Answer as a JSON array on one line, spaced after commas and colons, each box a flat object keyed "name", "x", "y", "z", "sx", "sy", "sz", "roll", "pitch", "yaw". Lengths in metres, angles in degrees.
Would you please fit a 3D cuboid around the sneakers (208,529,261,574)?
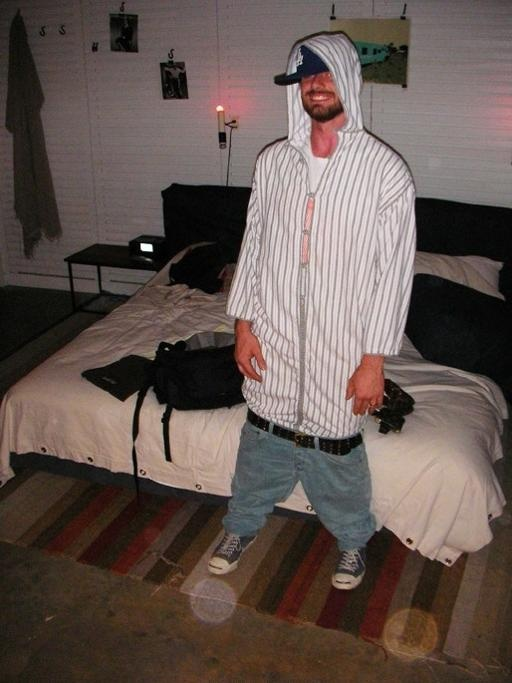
[{"name": "sneakers", "x": -0.078, "y": 0.773, "z": 2.030, "sx": 0.082, "sy": 0.091, "sz": 0.240, "roll": 27, "pitch": 10, "yaw": 15}]

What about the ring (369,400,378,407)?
[{"name": "ring", "x": 0.336, "y": 0.176, "z": 1.537, "sx": 0.025, "sy": 0.011, "sz": 0.034, "roll": 4, "pitch": -1, "yaw": 9}]

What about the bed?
[{"name": "bed", "x": 0.327, "y": -0.140, "z": 2.326, "sx": 1.804, "sy": 0.660, "sz": 1.632, "roll": 9, "pitch": 38, "yaw": 17}]

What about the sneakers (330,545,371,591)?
[{"name": "sneakers", "x": 0.326, "y": 0.805, "z": 1.913, "sx": 0.072, "sy": 0.075, "sz": 0.190, "roll": 3, "pitch": 5, "yaw": 19}]

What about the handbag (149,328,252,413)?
[{"name": "handbag", "x": -0.223, "y": 0.135, "z": 2.111, "sx": 0.335, "sy": 0.093, "sz": 0.312, "roll": -5, "pitch": 44, "yaw": -2}]

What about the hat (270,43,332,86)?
[{"name": "hat", "x": 0.123, "y": -0.731, "z": 1.450, "sx": 0.148, "sy": 0.073, "sz": 0.090, "roll": -6, "pitch": 0, "yaw": 11}]

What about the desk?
[{"name": "desk", "x": -1.156, "y": -0.517, "z": 4.329, "sx": 0.674, "sy": 0.459, "sz": 0.362, "roll": 4, "pitch": 44, "yaw": 1}]

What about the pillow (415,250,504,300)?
[{"name": "pillow", "x": 1.137, "y": -0.330, "z": 3.094, "sx": 0.473, "sy": 0.092, "sz": 0.303, "roll": 15, "pitch": 47, "yaw": 1}]
